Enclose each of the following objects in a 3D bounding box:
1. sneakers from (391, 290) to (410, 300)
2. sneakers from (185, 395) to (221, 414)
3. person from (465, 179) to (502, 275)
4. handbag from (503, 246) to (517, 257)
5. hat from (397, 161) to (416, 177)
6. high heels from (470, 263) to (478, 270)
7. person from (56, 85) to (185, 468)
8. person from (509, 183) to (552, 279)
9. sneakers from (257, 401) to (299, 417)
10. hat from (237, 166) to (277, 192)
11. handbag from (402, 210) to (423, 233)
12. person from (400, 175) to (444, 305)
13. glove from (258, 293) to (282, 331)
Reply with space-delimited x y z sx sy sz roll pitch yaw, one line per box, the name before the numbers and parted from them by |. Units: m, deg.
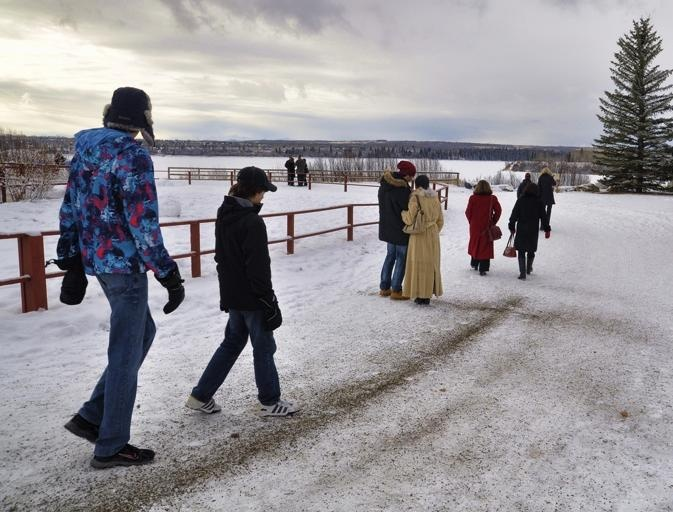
sneakers | 1.083 0.650 7.399 0.353 0.160 0.118 -1 7 -12
sneakers | -1.216 1.353 4.081 0.364 0.179 0.132 10 8 -22
person | 3.021 -0.596 9.109 0.689 1.930 0.807 5 14 18
handbag | 3.497 -0.072 8.827 0.225 0.214 0.311 7 14 23
hat | 1.117 -1.397 7.077 0.285 0.250 0.316 3 13 7
high heels | 2.961 0.212 9.471 0.103 0.132 0.089 17 47 44
person | -1.632 0.172 3.262 0.918 2.753 0.781 -4 14 -19
person | 3.939 -0.571 9.073 0.689 1.871 1.303 10 16 34
sneakers | -0.535 1.355 4.013 0.263 0.116 0.151 0 -2 -8
hat | -0.730 -0.668 3.929 0.361 0.209 0.250 -10 20 -41
handbag | 1.198 -0.551 6.907 0.175 0.398 0.306 31 -10 -15
person | 1.394 -0.260 7.127 0.750 2.088 0.507 -5 14 -24
glove | -0.575 0.494 3.850 0.166 0.414 0.229 -1 13 -10
